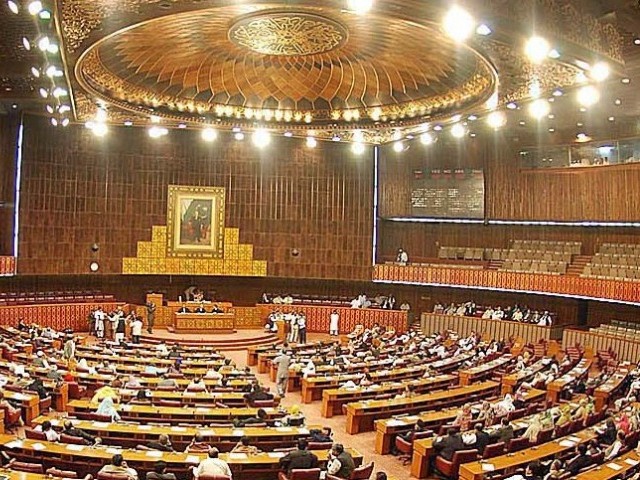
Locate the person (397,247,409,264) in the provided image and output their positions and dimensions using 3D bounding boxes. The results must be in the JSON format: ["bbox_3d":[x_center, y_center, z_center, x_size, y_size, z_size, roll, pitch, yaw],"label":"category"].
[{"bbox_3d":[5.321,1.019,32.505,0.753,1.091,1.056,-1,-6,10],"label":"person"}]
